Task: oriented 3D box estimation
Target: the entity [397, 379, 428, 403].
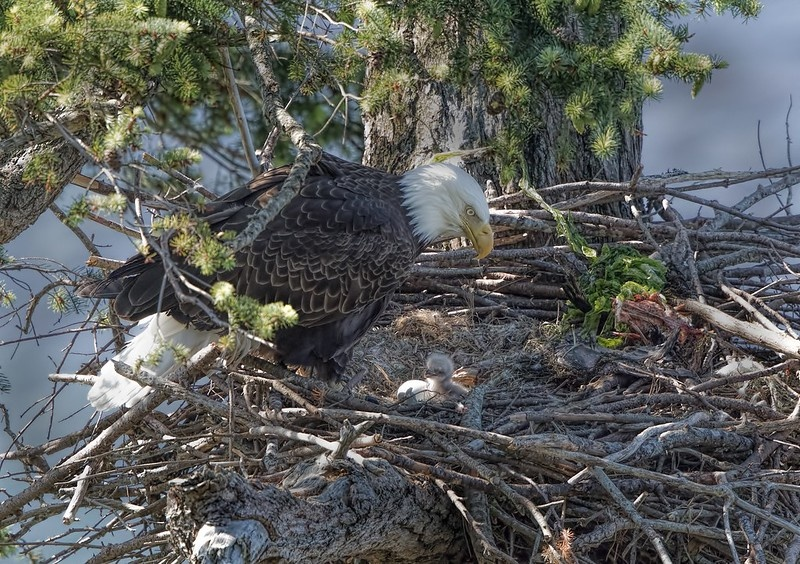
[{"bbox_3d":[0.063,0.667,8.539,0.129,0.118,0.144,-14,-4,-8],"label":"entity"}]
